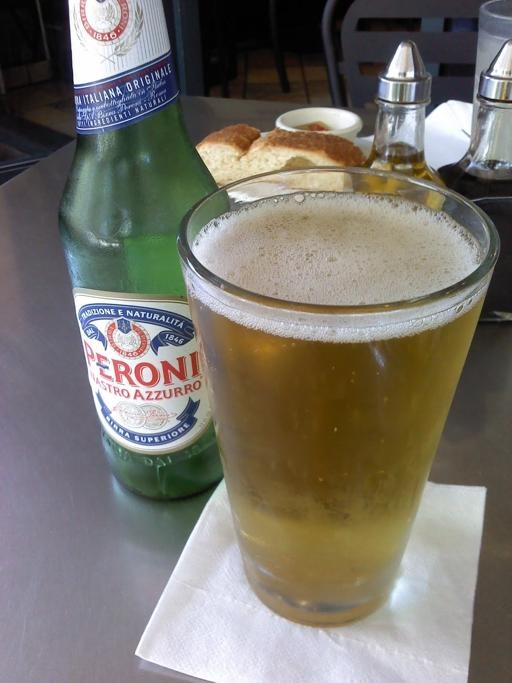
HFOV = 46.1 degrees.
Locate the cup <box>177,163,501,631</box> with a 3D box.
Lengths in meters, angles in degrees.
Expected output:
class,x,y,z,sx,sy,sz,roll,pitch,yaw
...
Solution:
class,x,y,z,sx,sy,sz,roll,pitch,yaw
cup,0.040,0.040,0.352,0.148,0.245,0.159,-1,33,1
